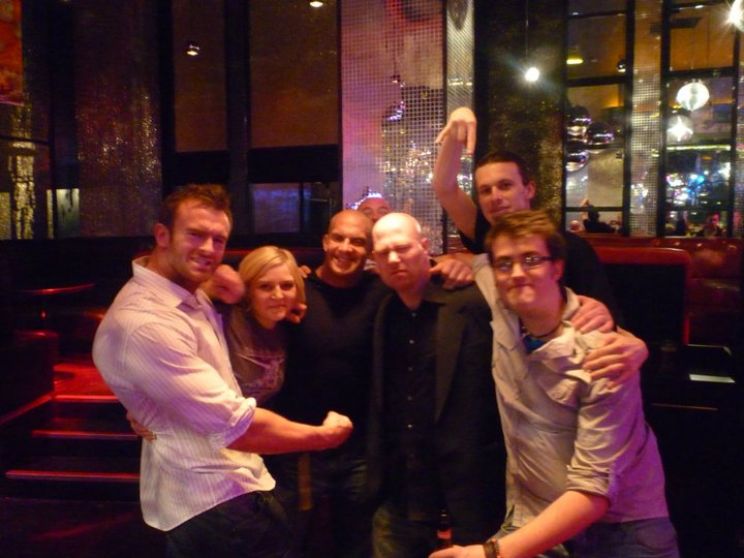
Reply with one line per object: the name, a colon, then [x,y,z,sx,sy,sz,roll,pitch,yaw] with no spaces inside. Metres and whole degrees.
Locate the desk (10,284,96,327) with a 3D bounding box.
desk: [-3.604,0.284,7.566,0.887,0.488,1.305,-5,7,-22]

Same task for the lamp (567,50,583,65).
lamp: [2.759,-2.968,9.020,0.220,0.159,0.060,-4,7,-10]
